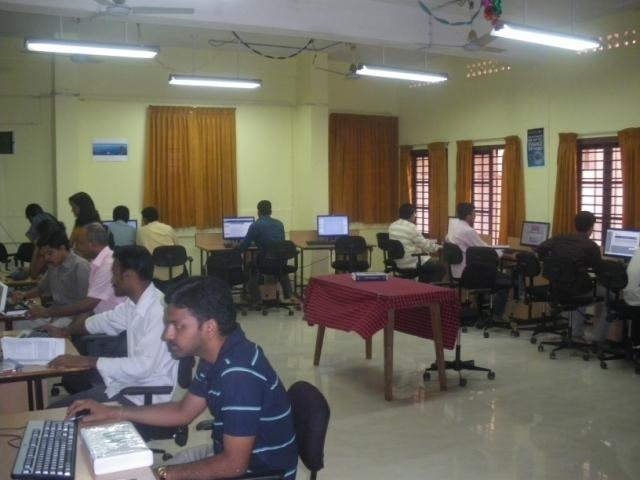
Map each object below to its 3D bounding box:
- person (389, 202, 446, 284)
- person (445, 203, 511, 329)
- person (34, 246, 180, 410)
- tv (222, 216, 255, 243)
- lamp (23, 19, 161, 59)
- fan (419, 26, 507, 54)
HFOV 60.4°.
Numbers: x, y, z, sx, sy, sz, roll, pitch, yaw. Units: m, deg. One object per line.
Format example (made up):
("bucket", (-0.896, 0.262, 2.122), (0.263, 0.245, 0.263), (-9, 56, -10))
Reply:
("person", (1.509, 0.190, 8.635), (0.852, 1.665, 0.781), (-9, 14, -30))
("person", (2.239, 0.251, 7.910), (0.833, 1.610, 0.770), (-7, 9, -41))
("person", (-1.429, 0.762, 3.769), (0.857, 1.402, 0.697), (1, 8, 6))
("tv", (-1.291, -0.186, 8.845), (0.379, 0.304, 0.070), (2, 11, -18))
("lamp", (-2.522, -2.162, 6.086), (1.426, 0.155, 0.349), (-2, 9, -8))
("fan", (1.831, -2.615, 7.054), (0.771, 0.298, 0.808), (-1, 3, -3))
